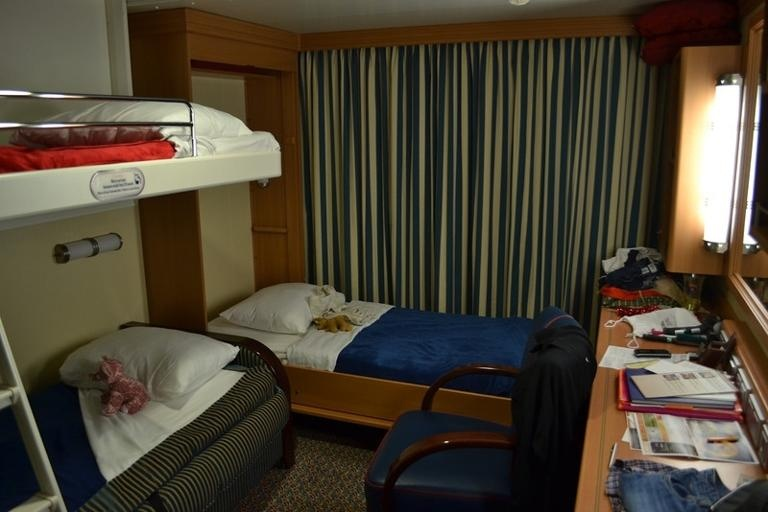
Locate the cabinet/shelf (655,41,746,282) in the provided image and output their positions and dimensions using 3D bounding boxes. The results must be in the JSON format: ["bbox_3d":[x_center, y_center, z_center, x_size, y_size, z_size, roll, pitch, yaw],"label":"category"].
[{"bbox_3d":[1.977,-0.584,3.417,0.431,1.406,1.330,5,15,27],"label":"cabinet/shelf"}]

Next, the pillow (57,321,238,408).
[{"bbox_3d":[-1.424,0.632,3.360,0.540,0.173,0.590,8,10,15],"label":"pillow"}]

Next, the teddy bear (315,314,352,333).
[{"bbox_3d":[-0.382,0.514,4.225,0.198,0.085,0.147,10,8,14],"label":"teddy bear"}]

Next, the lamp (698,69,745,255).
[{"bbox_3d":[2.054,-0.547,3.420,0.201,1.099,0.183,-2,9,-7],"label":"lamp"}]

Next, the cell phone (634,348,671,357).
[{"bbox_3d":[1.498,0.537,3.087,0.123,0.017,0.071,1,9,8],"label":"cell phone"}]

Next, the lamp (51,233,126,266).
[{"bbox_3d":[-1.787,-0.065,3.452,0.159,0.150,0.475,-39,-14,32],"label":"lamp"}]

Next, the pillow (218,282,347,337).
[{"bbox_3d":[-0.759,0.385,4.431,0.464,0.170,0.569,6,8,16],"label":"pillow"}]

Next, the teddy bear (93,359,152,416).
[{"bbox_3d":[-1.472,0.714,3.134,0.281,0.281,0.277,5,6,6],"label":"teddy bear"}]

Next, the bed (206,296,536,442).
[{"bbox_3d":[0.004,0.728,3.996,1.822,0.473,0.997,4,18,15],"label":"bed"}]
